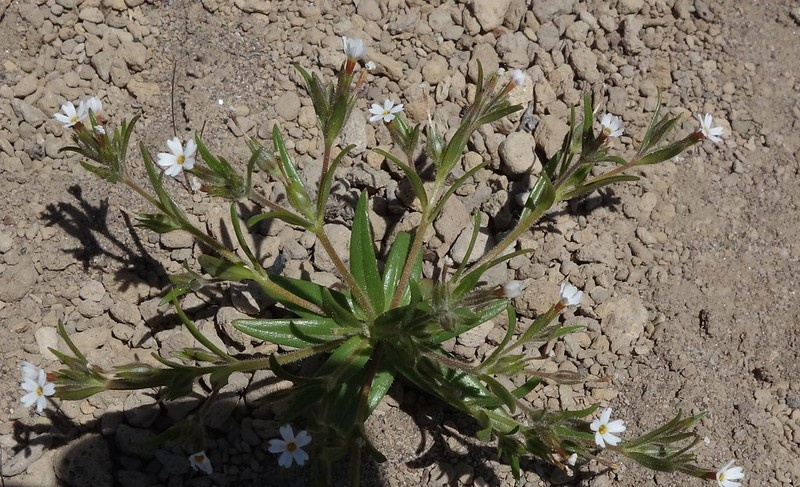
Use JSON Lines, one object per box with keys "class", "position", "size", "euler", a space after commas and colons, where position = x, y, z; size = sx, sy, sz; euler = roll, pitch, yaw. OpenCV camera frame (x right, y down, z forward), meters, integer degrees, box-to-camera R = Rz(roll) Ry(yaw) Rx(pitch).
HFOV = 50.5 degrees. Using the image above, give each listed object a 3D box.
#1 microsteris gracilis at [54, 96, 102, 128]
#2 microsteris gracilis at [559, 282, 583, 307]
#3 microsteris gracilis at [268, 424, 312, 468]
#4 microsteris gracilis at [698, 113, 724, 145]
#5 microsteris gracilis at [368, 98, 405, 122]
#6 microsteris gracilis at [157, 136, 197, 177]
{"class": "microsteris gracilis", "position": [-2.787, -1.139, 7.361], "size": [0.244, 0.113, 0.293], "euler": [16, 54, 16]}
{"class": "microsteris gracilis", "position": [1.414, 0.430, 6.990], "size": [0.167, 0.099, 0.190], "euler": [15, 63, -4]}
{"class": "microsteris gracilis", "position": [-0.894, 1.678, 7.012], "size": [0.310, 0.321, 0.103], "euler": [-19, 102, -38]}
{"class": "microsteris gracilis", "position": [2.813, -1.031, 7.654], "size": [0.218, 0.080, 0.256], "euler": [30, 57, -20]}
{"class": "microsteris gracilis", "position": [-0.093, -1.168, 7.649], "size": [0.228, 0.072, 0.287], "euler": [-11, 53, 14]}
{"class": "microsteris gracilis", "position": [-1.812, -0.727, 6.998], "size": [0.297, 0.278, 0.120], "euler": [14, 83, -49]}
